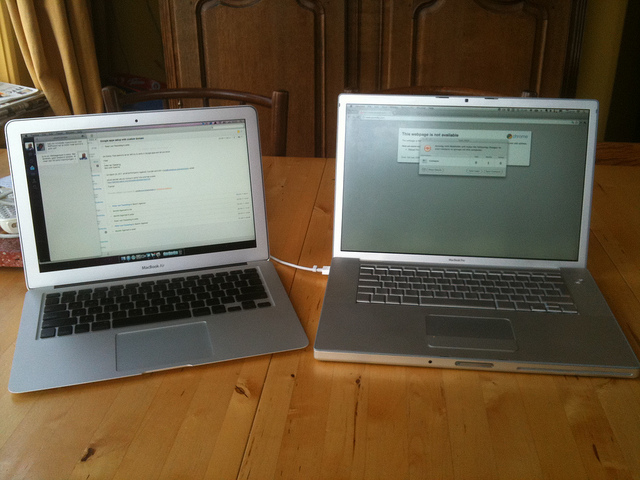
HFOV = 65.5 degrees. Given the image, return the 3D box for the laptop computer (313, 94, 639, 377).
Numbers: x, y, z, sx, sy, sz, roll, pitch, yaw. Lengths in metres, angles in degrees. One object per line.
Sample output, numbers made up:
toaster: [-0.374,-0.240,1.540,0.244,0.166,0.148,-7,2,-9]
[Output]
laptop computer: [0.254,0.074,0.990,0.533,0.352,0.472,2,38,4]

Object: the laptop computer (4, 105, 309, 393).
laptop computer: [-0.308,0.088,0.986,0.549,0.380,0.480,-9,40,-14]
